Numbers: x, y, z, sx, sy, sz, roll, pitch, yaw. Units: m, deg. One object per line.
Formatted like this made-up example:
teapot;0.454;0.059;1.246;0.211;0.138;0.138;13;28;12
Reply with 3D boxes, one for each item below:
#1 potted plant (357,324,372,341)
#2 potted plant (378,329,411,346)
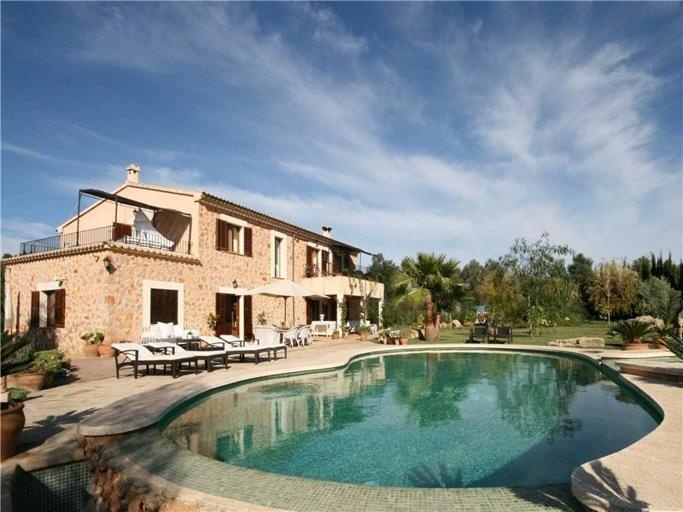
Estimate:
potted plant;1.319;4.161;24.305;0.700;0.948;0.863;1;0;-12
potted plant;2.480;3.891;21.228;1.242;0.698;0.837;-4;-11;3
